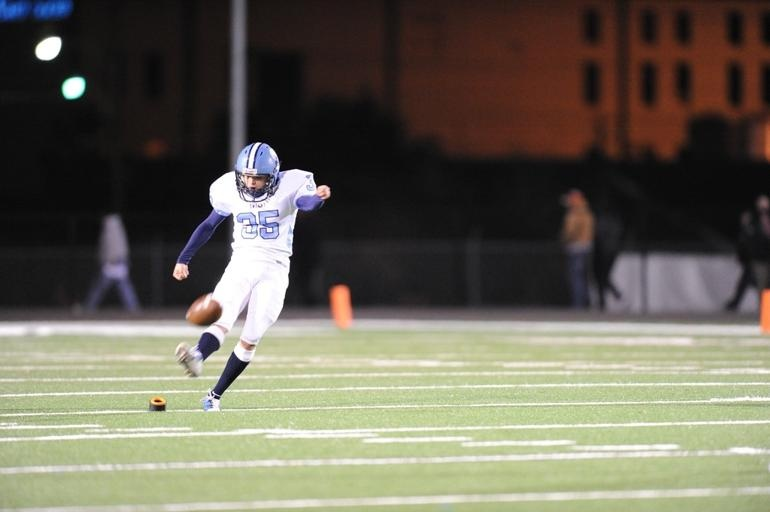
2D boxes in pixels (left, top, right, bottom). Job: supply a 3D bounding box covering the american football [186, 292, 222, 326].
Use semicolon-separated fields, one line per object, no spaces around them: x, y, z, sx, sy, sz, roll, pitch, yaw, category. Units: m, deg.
-1.920;0.570;11.236;0.345;0.232;0.348;-36;6;12;american football
